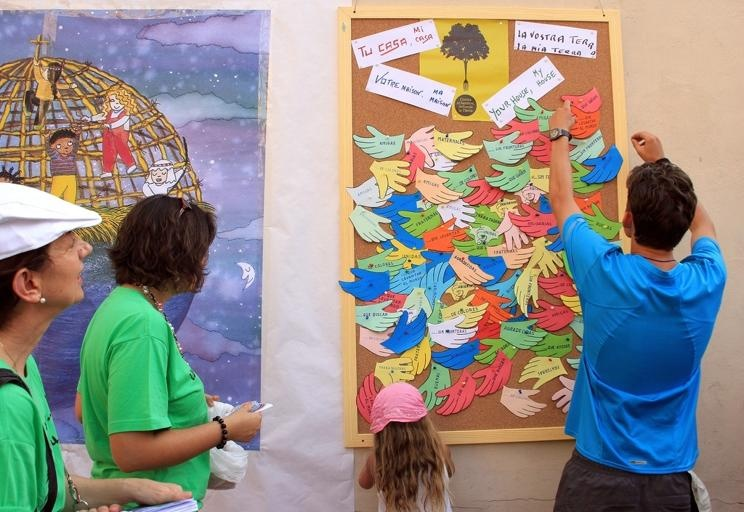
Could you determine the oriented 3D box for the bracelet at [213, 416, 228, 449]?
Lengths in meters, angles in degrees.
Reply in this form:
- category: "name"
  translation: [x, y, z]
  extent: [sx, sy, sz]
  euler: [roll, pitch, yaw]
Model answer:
- category: "bracelet"
  translation: [-0.500, 0.591, 2.491]
  extent: [0.070, 0.088, 0.031]
  euler: [-16, -16, 33]
